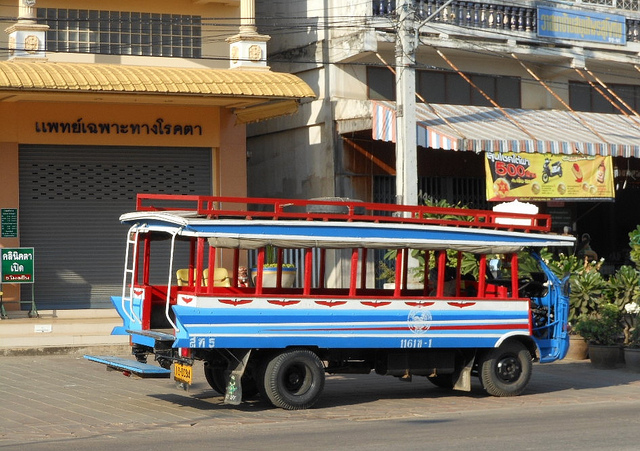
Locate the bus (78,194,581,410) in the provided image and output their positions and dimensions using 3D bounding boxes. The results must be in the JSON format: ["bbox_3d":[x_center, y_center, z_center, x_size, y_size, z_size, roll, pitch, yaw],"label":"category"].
[{"bbox_3d":[0.547,1.592,26.447,10.482,4.178,3.796,2,-2,-28],"label":"bus"}]

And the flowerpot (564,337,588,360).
[{"bbox_3d":[6.160,2.922,30.238,0.592,0.428,0.574,0,0,-17],"label":"flowerpot"}]

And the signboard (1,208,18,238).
[{"bbox_3d":[-8.083,-0.085,32.536,0.404,0.749,0.335,-2,12,-9],"label":"signboard"}]

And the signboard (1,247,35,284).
[{"bbox_3d":[-7.687,0.996,31.733,0.913,0.936,0.067,-2,-3,-12],"label":"signboard"}]

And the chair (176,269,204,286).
[{"bbox_3d":[-2.774,1.083,26.578,0.466,0.485,0.430,6,-18,-24],"label":"chair"}]

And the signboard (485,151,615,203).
[{"bbox_3d":[6.297,-1.412,34.121,4.398,1.416,0.063,-2,-1,-30],"label":"signboard"}]

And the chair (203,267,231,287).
[{"bbox_3d":[-2.252,1.107,27.123,0.499,0.525,0.462,1,-29,-7],"label":"chair"}]

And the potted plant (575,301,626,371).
[{"bbox_3d":[6.580,2.513,29.324,0.930,1.250,0.892,-3,-1,-32],"label":"potted plant"}]

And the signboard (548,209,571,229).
[{"bbox_3d":[7.047,-0.227,37.201,0.764,0.676,0.420,1,1,-3],"label":"signboard"}]

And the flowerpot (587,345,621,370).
[{"bbox_3d":[6.547,3.017,28.841,0.595,0.401,0.578,1,-6,-1],"label":"flowerpot"}]
